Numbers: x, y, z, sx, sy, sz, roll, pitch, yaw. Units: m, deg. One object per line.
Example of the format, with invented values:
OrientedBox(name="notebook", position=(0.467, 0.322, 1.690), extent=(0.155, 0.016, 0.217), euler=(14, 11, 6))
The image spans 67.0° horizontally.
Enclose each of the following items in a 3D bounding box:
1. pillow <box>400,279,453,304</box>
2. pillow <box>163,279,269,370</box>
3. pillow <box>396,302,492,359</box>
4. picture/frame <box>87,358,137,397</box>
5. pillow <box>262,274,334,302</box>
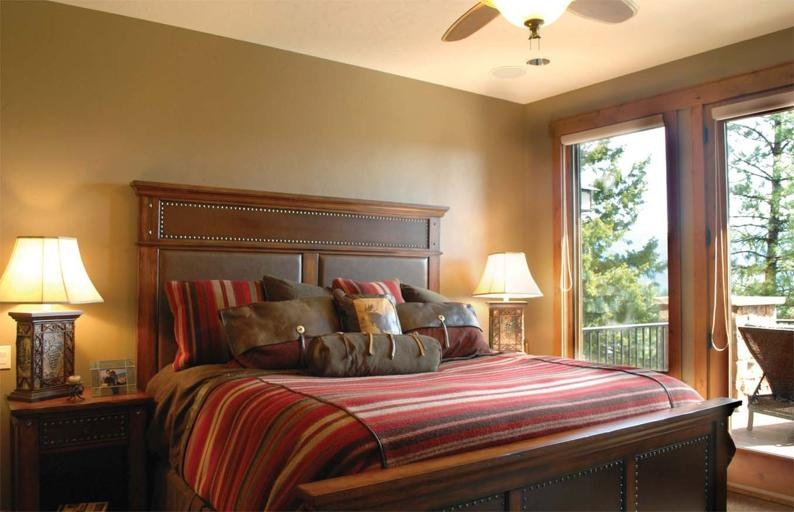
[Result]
OrientedBox(name="pillow", position=(0.193, 0.294, 4.850), extent=(0.216, 0.061, 0.216), euler=(19, 0, -20))
OrientedBox(name="pillow", position=(-1.350, 0.458, 4.170), extent=(0.697, 0.592, 0.208), euler=(3, -21, -37))
OrientedBox(name="pillow", position=(0.313, 0.544, 4.353), extent=(0.444, 0.287, 0.191), euler=(7, -33, -29))
OrientedBox(name="picture/frame", position=(-1.883, 0.810, 3.956), extent=(0.238, 0.212, 0.030), euler=(2, -21, -29))
OrientedBox(name="pillow", position=(-0.785, 0.248, 4.400), extent=(0.289, 0.106, 0.280), euler=(9, -14, -24))
